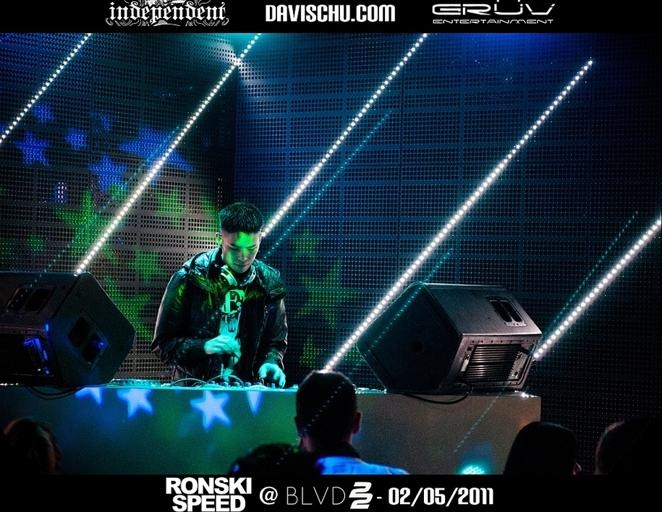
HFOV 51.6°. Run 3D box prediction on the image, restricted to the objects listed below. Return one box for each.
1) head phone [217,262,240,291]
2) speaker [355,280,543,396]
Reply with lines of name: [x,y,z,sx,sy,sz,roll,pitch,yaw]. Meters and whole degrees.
head phone: [-0.648,0.130,4.379,0.050,0.141,0.118,-23,23,-3]
speaker: [0.644,0.448,3.591,0.601,0.543,0.811,-3,-9,44]
